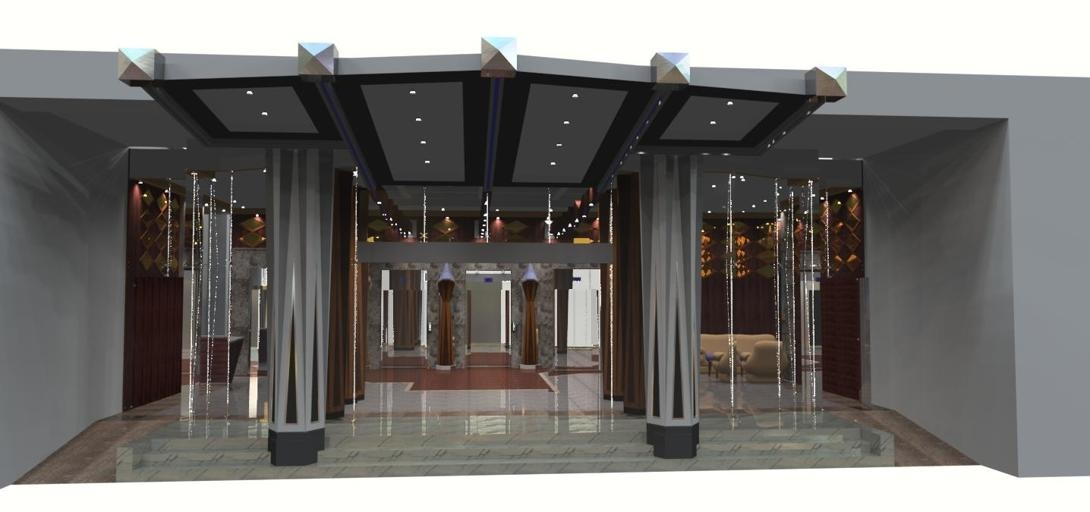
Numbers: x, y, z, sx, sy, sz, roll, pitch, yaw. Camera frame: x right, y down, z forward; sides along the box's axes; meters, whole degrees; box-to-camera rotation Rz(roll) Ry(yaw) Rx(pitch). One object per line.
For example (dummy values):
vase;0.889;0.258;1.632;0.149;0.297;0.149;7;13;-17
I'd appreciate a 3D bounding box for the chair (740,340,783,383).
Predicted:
chair;5.508;2.657;17.075;1.340;0.983;1.204;2;-2;-32

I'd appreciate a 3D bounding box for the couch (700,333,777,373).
couch;4.764;2.355;16.506;2.203;0.723;0.637;-3;18;10

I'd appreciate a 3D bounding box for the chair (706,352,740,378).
chair;4.502;2.736;16.857;0.821;0.749;0.658;0;-7;14
